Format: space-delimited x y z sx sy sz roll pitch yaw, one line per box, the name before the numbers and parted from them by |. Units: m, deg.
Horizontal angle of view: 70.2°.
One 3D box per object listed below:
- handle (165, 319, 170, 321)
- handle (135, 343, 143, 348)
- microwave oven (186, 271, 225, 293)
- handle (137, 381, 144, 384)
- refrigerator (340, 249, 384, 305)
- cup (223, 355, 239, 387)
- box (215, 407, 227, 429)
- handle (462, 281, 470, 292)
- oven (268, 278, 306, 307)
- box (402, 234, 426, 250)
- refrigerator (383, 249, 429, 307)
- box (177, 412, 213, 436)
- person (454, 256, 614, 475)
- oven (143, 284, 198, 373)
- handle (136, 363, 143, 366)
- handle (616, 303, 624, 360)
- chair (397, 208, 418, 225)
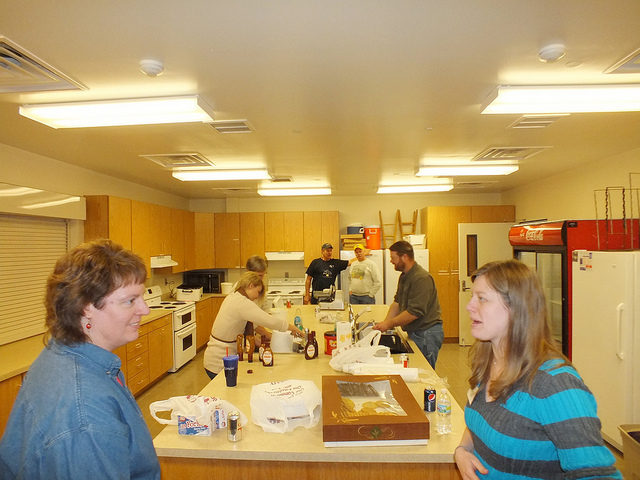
handle | -2.047 1.061 6.096 0.043 0.009 0.039 2 2 14
handle | -2.134 1.233 5.355 0.073 0.025 0.100 4 11 24
microwave oven | -1.966 0.693 8.018 0.551 0.315 0.381 0 -3 6
handle | -2.126 1.671 5.384 0.076 0.014 0.074 -4 -2 20
refrigerator | 0.713 0.622 7.798 0.748 0.929 0.428 -1 0 5
cup | -0.639 0.914 3.196 0.186 0.179 0.176 -4 -13 -1
box | -0.582 1.041 2.677 0.071 0.100 0.023 -1 1 -33
handle | 2.329 0.738 7.316 0.094 0.173 0.027 -1 1 4
oven | -0.595 0.852 7.918 0.634 0.548 0.413 0 -5 6
box | 1.640 0.012 7.813 0.370 0.263 0.245 -1 -6 1
refrigerator | 1.434 0.613 7.728 0.758 0.935 0.306 -1 1 16
box | -0.714 1.071 2.633 0.232 0.139 0.120 1 -5 2
person | 0.979 0.620 2.150 0.687 1.032 0.292 -1 1 37
oven | -2.242 1.244 6.632 0.835 1.048 0.884 4 2 12
handle | -2.131 1.458 5.377 0.074 0.015 0.070 -1 -1 11
handle | 2.589 0.783 3.949 0.037 0.489 0.066 -1 1 -15
chair | 1.578 -0.407 8.218 0.308 0.516 0.288 1 27 4
